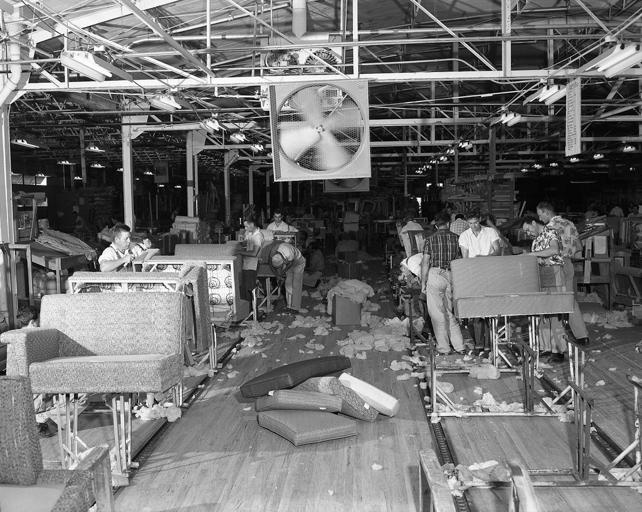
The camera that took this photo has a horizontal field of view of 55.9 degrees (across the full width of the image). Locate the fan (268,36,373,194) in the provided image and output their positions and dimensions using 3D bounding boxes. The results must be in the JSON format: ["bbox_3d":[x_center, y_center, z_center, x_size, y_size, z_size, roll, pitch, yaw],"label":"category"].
[{"bbox_3d":[-0.019,-2.109,8.488,1.650,2.455,0.723,-5,-7,3],"label":"fan"}]

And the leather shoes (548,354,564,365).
[{"bbox_3d":[3.165,1.374,8.169,0.146,0.151,0.154,0,0,-4],"label":"leather shoes"}]

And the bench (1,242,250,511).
[{"bbox_3d":[-1.833,0.999,5.666,1.959,2.528,1.480,-1,-4,1],"label":"bench"}]

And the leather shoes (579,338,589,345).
[{"bbox_3d":[3.785,1.224,8.723,0.124,0.059,0.185,-1,0,9],"label":"leather shoes"}]

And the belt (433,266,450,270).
[{"bbox_3d":[1.676,0.165,8.427,0.225,0.076,0.055,-4,3,-6],"label":"belt"}]

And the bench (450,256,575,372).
[{"bbox_3d":[2.194,0.576,7.433,1.478,1.599,1.126,-1,-1,-4],"label":"bench"}]
